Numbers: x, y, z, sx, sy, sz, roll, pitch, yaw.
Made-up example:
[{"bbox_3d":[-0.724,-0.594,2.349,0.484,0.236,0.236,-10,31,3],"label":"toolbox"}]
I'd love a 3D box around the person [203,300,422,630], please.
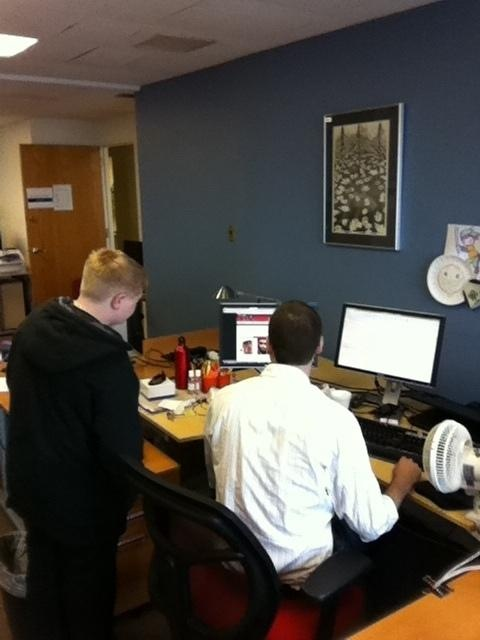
[{"bbox_3d":[0.187,0.509,1.554,0.548,1.087,0.572,-9,20,-21],"label":"person"}]

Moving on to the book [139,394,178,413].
[{"bbox_3d":[-0.382,0.394,2.388,0.154,0.038,0.149,-6,15,-32],"label":"book"}]
